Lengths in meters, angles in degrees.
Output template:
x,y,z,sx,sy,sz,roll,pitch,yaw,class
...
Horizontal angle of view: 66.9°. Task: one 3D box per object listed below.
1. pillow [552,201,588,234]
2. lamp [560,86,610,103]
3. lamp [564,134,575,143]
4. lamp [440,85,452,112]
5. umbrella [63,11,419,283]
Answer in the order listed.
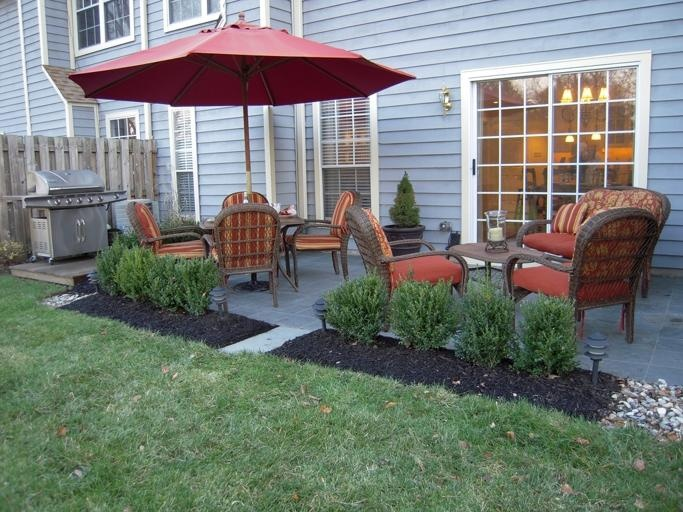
x,y,z,sx,sy,sz,roll,pitch,yaw,class
2.678,-0.455,6.052,0.116,0.353,0.376,17,7,-13,pillow
2.976,-1.948,6.291,0.571,0.214,0.172,4,13,30,lamp
2.846,-1.461,6.459,0.098,0.062,0.093,-3,3,-4,lamp
1.438,-2.134,7.082,0.166,0.341,0.111,-1,10,16,lamp
-1.086,-1.401,5.810,3.443,2.203,3.292,-5,11,-3,umbrella
